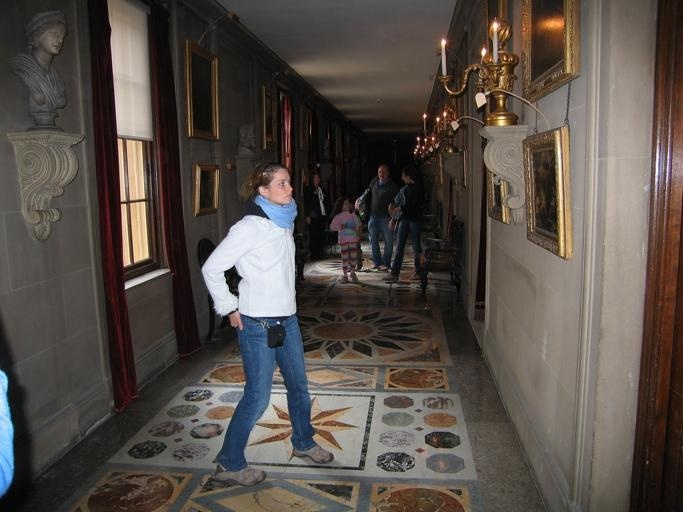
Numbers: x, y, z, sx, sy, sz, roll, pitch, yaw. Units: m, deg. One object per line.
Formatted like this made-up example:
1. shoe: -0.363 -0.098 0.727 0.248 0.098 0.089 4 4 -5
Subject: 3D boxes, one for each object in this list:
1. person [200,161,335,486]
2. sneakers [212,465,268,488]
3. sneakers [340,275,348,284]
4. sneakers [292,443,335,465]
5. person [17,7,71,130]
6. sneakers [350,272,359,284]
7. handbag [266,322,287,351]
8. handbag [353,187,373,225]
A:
1. person: -0.488 0.457 2.867 0.728 2.063 0.320 -6 9 -28
2. sneakers: -0.666 1.433 2.908 0.305 0.172 0.134 1 2 -2
3. sneakers: 0.052 0.461 8.491 0.121 0.150 0.352 0 -2 5
4. sneakers: -0.203 1.399 3.120 0.265 0.132 0.118 3 8 14
5. person: -2.061 -1.287 3.067 0.319 0.797 0.205 -7 10 -35
6. sneakers: 0.236 0.438 8.505 0.148 0.215 0.473 -6 3 -3
7. handbag: -0.403 0.494 2.745 0.118 0.248 0.160 -1 -2 -10
8. handbag: 0.397 -1.020 9.055 0.599 0.656 0.465 1 8 7
